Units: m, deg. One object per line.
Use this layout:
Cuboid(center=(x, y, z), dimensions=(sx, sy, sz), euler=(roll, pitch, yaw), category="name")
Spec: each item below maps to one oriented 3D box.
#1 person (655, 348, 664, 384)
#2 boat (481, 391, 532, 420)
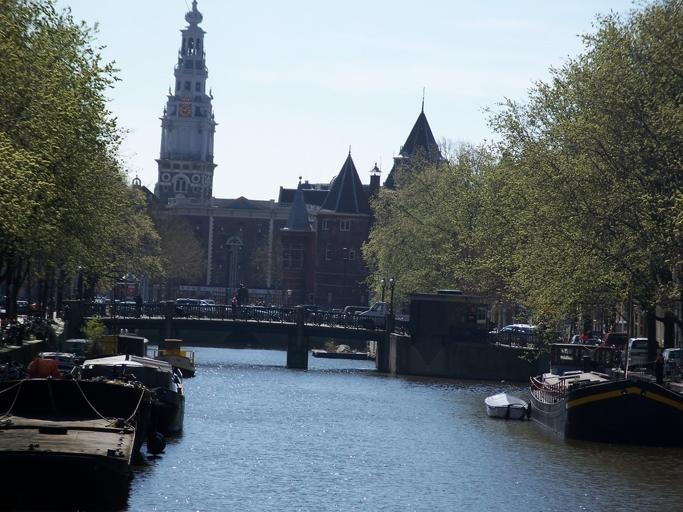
Cuboid(center=(12.879, 4.571, 51.899), dimensions=(0.293, 1.289, 1.280), euler=(2, -5, 13), category="person")
Cuboid(center=(7.595, 6.993, 59.059), dimensions=(1.807, 1.120, 2.064), euler=(4, -6, -14), category="boat")
